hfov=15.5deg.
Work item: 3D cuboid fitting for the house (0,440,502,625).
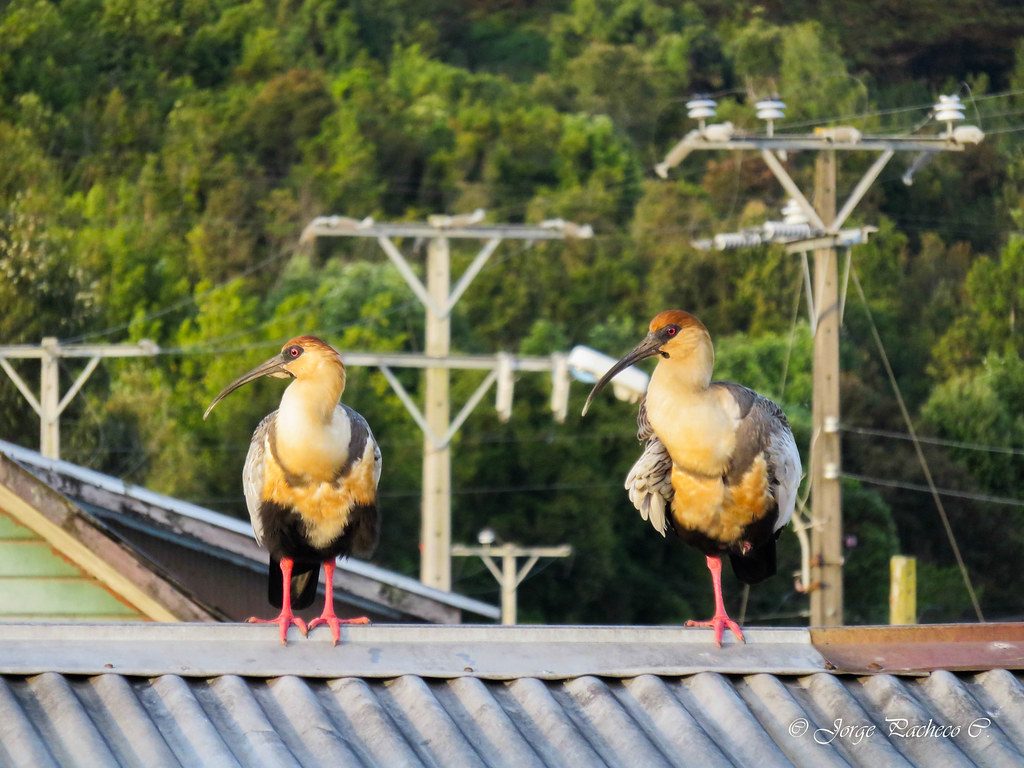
[{"bbox_3d":[-4.691,3.199,67.921,4.657,1.442,5.114,24,-9,12],"label":"house"}]
